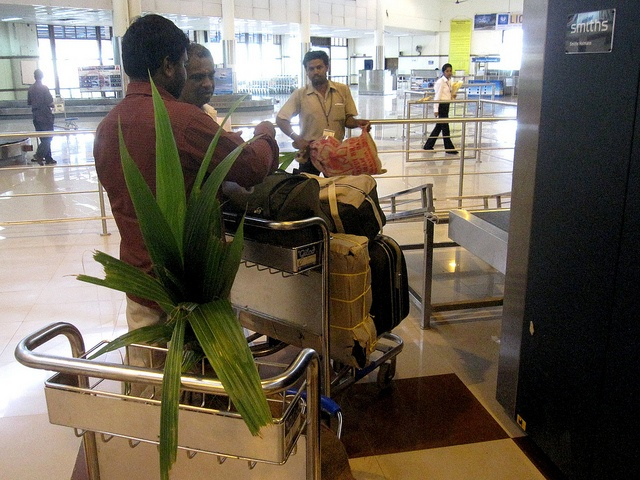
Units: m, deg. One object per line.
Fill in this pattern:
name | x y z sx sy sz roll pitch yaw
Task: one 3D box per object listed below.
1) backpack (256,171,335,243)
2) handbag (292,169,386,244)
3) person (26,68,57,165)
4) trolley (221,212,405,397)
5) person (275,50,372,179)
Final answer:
backpack | -0.106 -0.123 1.761 0.248 0.247 0.177 5 1 -43
handbag | 0.078 -0.177 1.926 0.281 0.259 0.262 8 22 20
person | -4.659 -2.090 8.211 0.464 1.483 1.840 -9 18 -27
trolley | -0.079 0.194 2.101 0.658 0.765 0.768 13 20 41
person | 0.013 -0.843 4.073 0.745 1.323 0.434 -6 39 -10
